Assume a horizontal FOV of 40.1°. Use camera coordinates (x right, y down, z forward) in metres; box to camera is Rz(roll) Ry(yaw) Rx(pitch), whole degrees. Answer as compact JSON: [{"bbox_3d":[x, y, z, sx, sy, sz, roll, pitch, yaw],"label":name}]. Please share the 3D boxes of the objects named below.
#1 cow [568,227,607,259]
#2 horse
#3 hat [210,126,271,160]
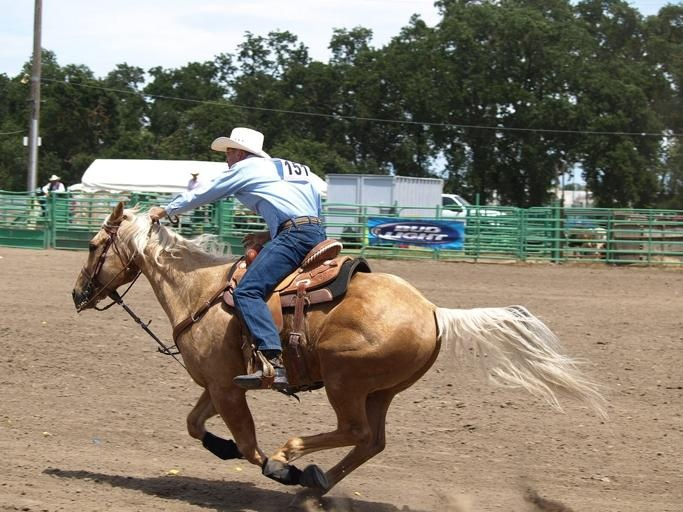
[{"bbox_3d":[6.536,-0.352,24.712,1.375,0.746,0.324,2,1,16],"label":"cow"},{"bbox_3d":[-0.332,1.022,10.145,5.184,3.072,1.685,5,11,19],"label":"horse"},{"bbox_3d":[-1.149,-1.268,10.475,0.602,0.158,0.513,12,-1,-18],"label":"hat"}]
